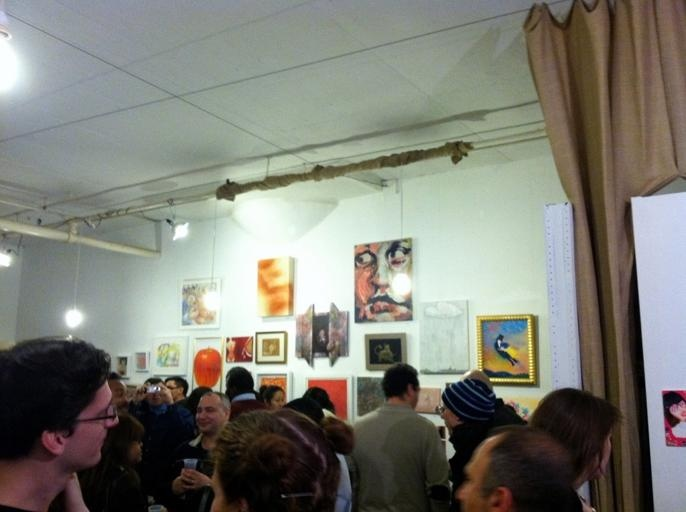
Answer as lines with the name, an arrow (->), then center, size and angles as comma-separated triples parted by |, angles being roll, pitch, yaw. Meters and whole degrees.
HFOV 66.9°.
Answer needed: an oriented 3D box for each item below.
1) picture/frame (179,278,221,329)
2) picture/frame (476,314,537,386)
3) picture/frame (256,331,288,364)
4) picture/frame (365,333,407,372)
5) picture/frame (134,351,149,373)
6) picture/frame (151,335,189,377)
picture/frame -> -2.380, 0.811, 8.756 | 0.823, 0.832, 0.060 | -2, -4, 34
picture/frame -> 1.921, 1.100, 5.992 | 0.742, 0.934, 0.070 | -6, -11, 35
picture/frame -> -1.073, 1.413, 7.969 | 0.478, 0.415, 0.038 | -6, -18, 27
picture/frame -> 0.574, 1.239, 6.654 | 0.599, 0.524, 0.057 | -7, -15, 32
picture/frame -> -3.622, 1.919, 9.361 | 0.323, 0.390, 0.123 | -10, -17, 23
picture/frame -> -3.046, 1.742, 9.006 | 0.100, 0.674, 0.749 | -14, -17, 35
